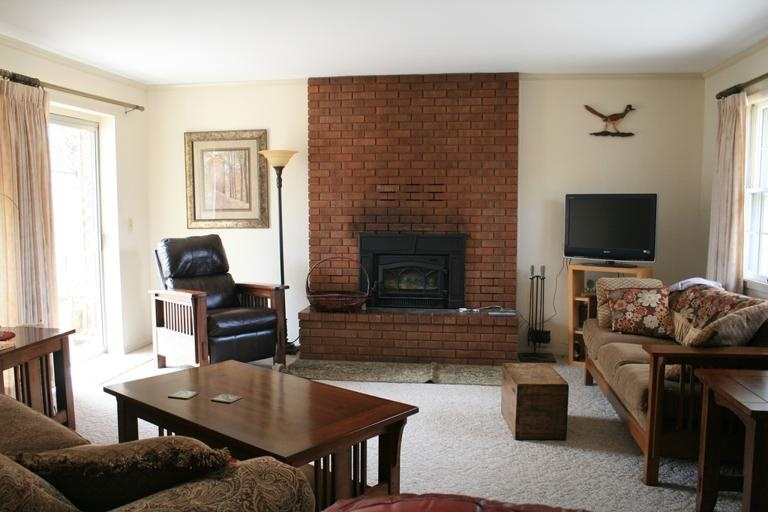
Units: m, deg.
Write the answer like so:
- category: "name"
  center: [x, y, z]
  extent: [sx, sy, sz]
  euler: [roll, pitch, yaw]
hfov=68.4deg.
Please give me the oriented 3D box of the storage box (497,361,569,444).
- category: "storage box"
  center: [1.142, 1.088, 4.368]
  extent: [0.408, 0.380, 0.646]
  euler: [0, 6, 0]

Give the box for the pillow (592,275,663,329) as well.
- category: "pillow"
  center: [2.010, 0.397, 4.867]
  extent: [0.559, 0.428, 0.139]
  euler: [-2, -7, 20]

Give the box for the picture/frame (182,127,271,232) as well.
- category: "picture/frame"
  center: [-1.725, -0.897, 6.324]
  extent: [1.462, 1.263, 0.061]
  euler: [1, 7, 1]

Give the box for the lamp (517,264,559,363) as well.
- category: "lamp"
  center: [1.601, 0.575, 5.860]
  extent: [0.361, 0.941, 0.500]
  euler: [3, 13, 13]

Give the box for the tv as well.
- category: "tv"
  center: [2.226, -0.265, 5.534]
  extent: [0.894, 0.618, 0.192]
  euler: [2, 2, 21]

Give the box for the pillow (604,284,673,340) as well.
- category: "pillow"
  center: [2.106, 0.469, 4.636]
  extent: [0.497, 0.388, 0.140]
  euler: [-1, -10, 26]

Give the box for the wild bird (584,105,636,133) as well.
- category: "wild bird"
  center: [2.343, -1.420, 5.861]
  extent: [0.399, 0.226, 0.359]
  euler: [-4, 14, -16]

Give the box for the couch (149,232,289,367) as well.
- category: "couch"
  center: [-1.711, 0.394, 5.806]
  extent: [1.526, 1.346, 1.229]
  euler: [1, 3, 43]
